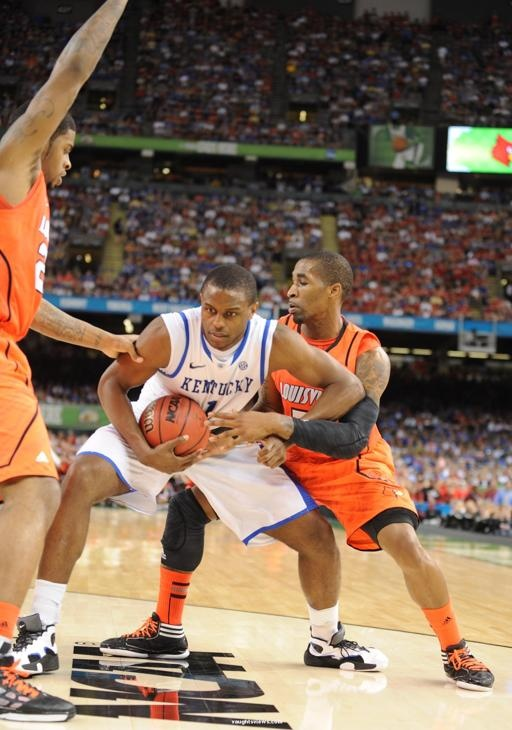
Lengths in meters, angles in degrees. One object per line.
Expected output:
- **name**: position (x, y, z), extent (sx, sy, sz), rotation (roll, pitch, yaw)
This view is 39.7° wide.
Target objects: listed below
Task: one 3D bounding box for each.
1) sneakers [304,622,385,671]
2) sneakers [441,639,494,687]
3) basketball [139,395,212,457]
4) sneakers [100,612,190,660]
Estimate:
- **sneakers**: position (0.338, 1.122, 2.790), extent (0.337, 0.166, 0.128), rotation (0, -9, 0)
- **sneakers**: position (0.744, 1.075, 2.549), extent (0.098, 0.095, 0.232), rotation (-10, 1, -23)
- **basketball**: position (-0.288, 0.222, 2.557), extent (0.218, 0.182, 0.243), rotation (-4, 17, -25)
- **sneakers**: position (-0.396, 1.050, 2.748), extent (0.395, 0.167, 0.133), rotation (5, -9, -7)
